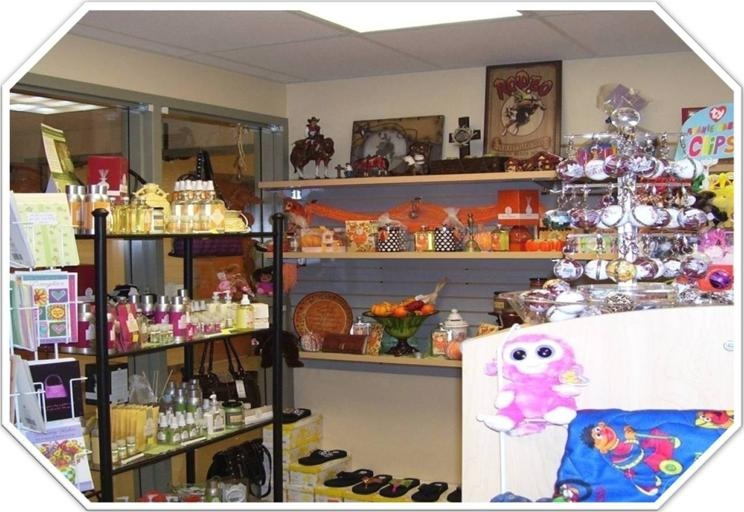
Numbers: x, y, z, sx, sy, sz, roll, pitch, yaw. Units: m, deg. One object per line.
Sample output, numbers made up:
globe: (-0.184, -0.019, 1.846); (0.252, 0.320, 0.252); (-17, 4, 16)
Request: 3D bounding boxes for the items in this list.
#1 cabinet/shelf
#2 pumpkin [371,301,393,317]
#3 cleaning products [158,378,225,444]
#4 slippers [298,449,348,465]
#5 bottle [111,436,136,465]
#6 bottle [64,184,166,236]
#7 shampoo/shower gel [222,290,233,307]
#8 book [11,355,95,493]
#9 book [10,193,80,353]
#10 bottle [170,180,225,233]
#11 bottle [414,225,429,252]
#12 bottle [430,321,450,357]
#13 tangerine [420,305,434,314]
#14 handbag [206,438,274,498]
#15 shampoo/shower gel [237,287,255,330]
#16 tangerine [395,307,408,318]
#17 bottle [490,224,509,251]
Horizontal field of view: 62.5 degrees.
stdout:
cabinet/shelf: (-0.219, 0.446, 3.603); (2.956, 2.188, 0.824); (0, -5, 20)
pumpkin: (0.064, 0.399, 4.547); (0.125, 0.058, 0.115); (2, 9, 13)
cleaning products: (-1.020, 0.863, 3.390); (0.227, 0.292, 0.391); (0, 4, 32)
slippers: (-0.378, 1.544, 4.678); (0.296, 0.059, 0.114); (0, -3, -36)
bottle: (-1.227, 0.974, 3.055); (0.089, 0.108, 0.131); (-6, -10, 38)
bottle: (-1.221, -0.225, 3.008); (0.257, 0.256, 0.507); (0, 3, 23)
shampoo/shower gel: (-0.896, 0.269, 3.815); (0.084, 0.121, 0.076); (1, -5, -5)
book: (-1.275, 0.677, 2.452); (0.261, 0.593, 0.168); (-4, 4, -28)
book: (-1.341, 0.062, 2.526); (0.267, 0.644, 0.237); (-4, 4, -34)
bottle: (-0.911, -0.248, 3.211); (0.321, 0.265, 0.301); (1, -1, 3)
bottle: (0.369, -0.100, 4.432); (0.125, 0.146, 0.060); (0, 4, 25)
bottle: (0.497, 0.615, 4.459); (0.119, 0.231, 0.293); (-3, 3, -8)
tangerine: (0.402, 0.402, 4.477); (0.084, 0.067, 0.072); (-3, 7, -9)
handbag: (-0.942, 1.583, 4.413); (0.454, 0.457, 0.211); (-3, 4, -14)
shampoo/shower gel: (-0.742, 0.328, 3.594); (0.090, 0.187, 0.131); (-3, 4, -19)
tangerine: (0.210, 0.420, 4.450); (0.078, 0.060, 0.070); (-2, -6, -3)
bottle: (0.895, -0.120, 4.257); (0.119, 0.185, 0.126); (-2, 4, 0)
